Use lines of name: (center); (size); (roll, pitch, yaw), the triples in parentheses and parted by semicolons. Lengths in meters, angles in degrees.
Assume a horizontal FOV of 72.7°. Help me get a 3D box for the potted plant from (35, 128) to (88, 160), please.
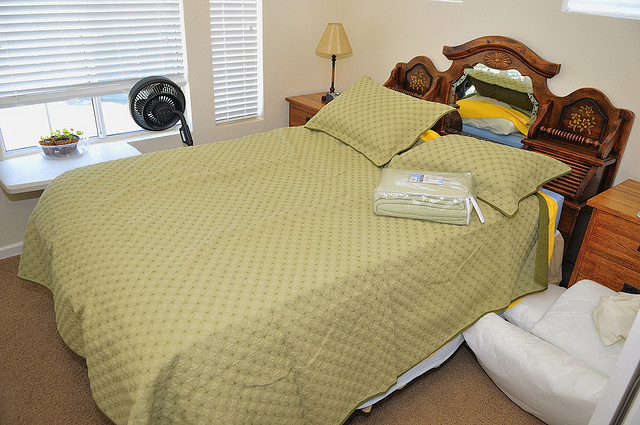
potted plant: (-2.167, -0.575, 3.627); (0.323, 0.162, 0.328); (10, 22, 17)

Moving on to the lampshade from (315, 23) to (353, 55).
lampshade: (0.145, -1.810, 4.497); (0.357, 0.274, 0.393); (-1, 37, -5)

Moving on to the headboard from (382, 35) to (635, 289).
headboard: (1.443, -0.333, 3.150); (0.509, 1.418, 1.562); (-19, 42, -32)

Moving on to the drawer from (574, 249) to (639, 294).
drawer: (1.985, 0.412, 2.974); (0.214, 0.201, 0.115); (34, 61, 28)

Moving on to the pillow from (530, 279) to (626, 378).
pillow: (1.532, 0.736, 2.686); (0.466, 0.120, 0.498); (28, 47, 31)

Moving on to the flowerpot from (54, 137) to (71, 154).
flowerpot: (-2.118, -0.545, 3.582); (0.111, 0.117, 0.110); (8, 18, 19)

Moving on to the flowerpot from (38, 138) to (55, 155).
flowerpot: (-2.243, -0.536, 3.567); (0.127, 0.101, 0.116); (8, 16, 22)

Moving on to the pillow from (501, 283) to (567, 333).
pillow: (1.419, 0.647, 2.904); (0.311, 0.075, 0.307); (-30, 31, -31)

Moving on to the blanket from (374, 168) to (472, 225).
blanket: (0.656, -0.118, 2.828); (0.476, 0.175, 0.385); (0, 32, 10)

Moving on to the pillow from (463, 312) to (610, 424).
pillow: (1.258, 0.979, 2.524); (0.580, 0.369, 0.580); (-12, 37, -40)

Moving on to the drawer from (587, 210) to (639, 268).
drawer: (2.023, 0.178, 2.969); (0.301, 0.220, 0.171); (28, 37, 32)
